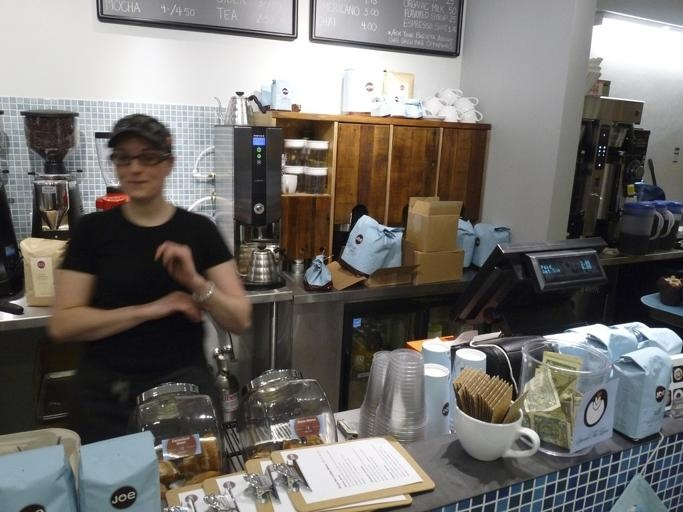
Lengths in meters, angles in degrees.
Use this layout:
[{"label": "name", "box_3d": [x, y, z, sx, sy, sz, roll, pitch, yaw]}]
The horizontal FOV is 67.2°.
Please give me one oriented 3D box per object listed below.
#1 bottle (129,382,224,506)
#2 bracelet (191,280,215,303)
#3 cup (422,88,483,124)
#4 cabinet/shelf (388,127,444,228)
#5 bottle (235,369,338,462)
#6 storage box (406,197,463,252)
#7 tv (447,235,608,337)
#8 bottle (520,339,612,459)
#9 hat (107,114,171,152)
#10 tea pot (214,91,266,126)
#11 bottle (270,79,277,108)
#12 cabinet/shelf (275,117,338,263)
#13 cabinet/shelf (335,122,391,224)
[{"label": "bottle", "box_3d": [-0.421, 0.478, 1.343, 0.187, 0.204, 0.134, -9, 15, -30]}, {"label": "bracelet", "box_3d": [-0.465, 0.122, 1.745, 0.062, 0.034, 0.075, -43, 1, 13]}, {"label": "cup", "box_3d": [0.787, -1.068, 3.679, 0.453, 0.181, 0.272, 0, 22, -10]}, {"label": "cabinet/shelf", "box_3d": [0.522, -0.669, 3.673, 0.402, 0.687, 0.415, -5, 36, -7]}, {"label": "bottle", "box_3d": [-0.165, 0.465, 1.524, 0.285, 0.199, 0.190, -4, 13, -8]}, {"label": "storage box", "box_3d": [0.561, -0.201, 3.219, 0.237, 0.289, 0.309, -3, 13, -25]}, {"label": "tv", "box_3d": [0.697, 0.111, 1.999, 0.565, 0.395, 0.382, -7, 15, -21]}, {"label": "bottle", "box_3d": [0.665, 0.442, 1.581, 0.282, 0.299, 0.275, 7, -4, -13]}, {"label": "hat", "box_3d": [-0.660, -0.392, 1.671, 0.174, 0.095, 0.233, -5, -3, -15]}, {"label": "tea pot", "box_3d": [-0.576, -0.876, 3.158, 0.390, 0.227, 0.263, 0, 14, -17]}, {"label": "bottle", "box_3d": [-0.429, -1.011, 3.214, 0.037, 0.171, 0.138, -5, 13, -15]}, {"label": "cabinet/shelf", "box_3d": [-0.293, -0.454, 3.302, 0.416, 0.902, 0.299, -5, 11, -31]}, {"label": "cabinet/shelf", "box_3d": [0.086, -0.557, 3.506, 0.380, 0.685, 0.366, -1, 10, -19]}]
